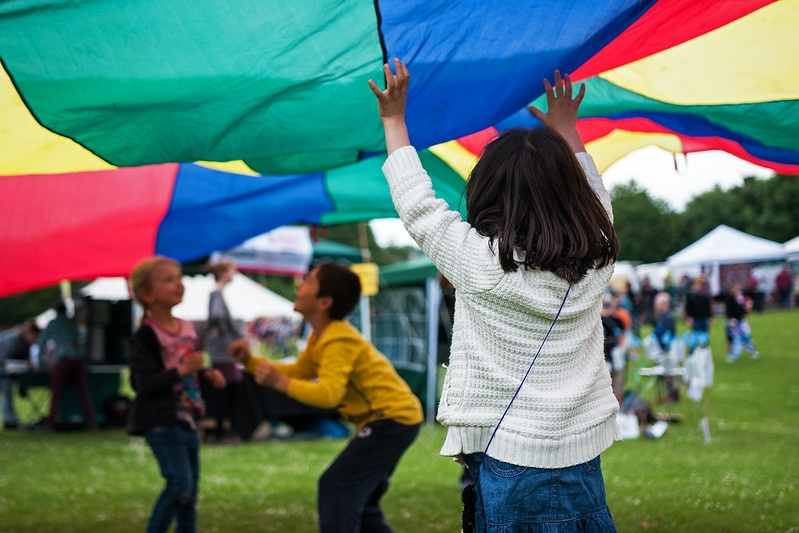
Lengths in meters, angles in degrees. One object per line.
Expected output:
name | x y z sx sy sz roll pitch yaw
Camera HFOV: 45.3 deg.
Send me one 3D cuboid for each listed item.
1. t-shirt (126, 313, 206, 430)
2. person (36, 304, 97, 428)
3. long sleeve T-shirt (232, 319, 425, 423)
t-shirt | -1.418 0.606 5.685 0.495 0.748 0.616 -5 -5 8
person | -2.904 0.763 8.267 0.418 1.015 0.814 -1 0 -21
long sleeve T-shirt | -0.344 0.608 5.371 0.779 0.469 0.585 4 -9 -9
